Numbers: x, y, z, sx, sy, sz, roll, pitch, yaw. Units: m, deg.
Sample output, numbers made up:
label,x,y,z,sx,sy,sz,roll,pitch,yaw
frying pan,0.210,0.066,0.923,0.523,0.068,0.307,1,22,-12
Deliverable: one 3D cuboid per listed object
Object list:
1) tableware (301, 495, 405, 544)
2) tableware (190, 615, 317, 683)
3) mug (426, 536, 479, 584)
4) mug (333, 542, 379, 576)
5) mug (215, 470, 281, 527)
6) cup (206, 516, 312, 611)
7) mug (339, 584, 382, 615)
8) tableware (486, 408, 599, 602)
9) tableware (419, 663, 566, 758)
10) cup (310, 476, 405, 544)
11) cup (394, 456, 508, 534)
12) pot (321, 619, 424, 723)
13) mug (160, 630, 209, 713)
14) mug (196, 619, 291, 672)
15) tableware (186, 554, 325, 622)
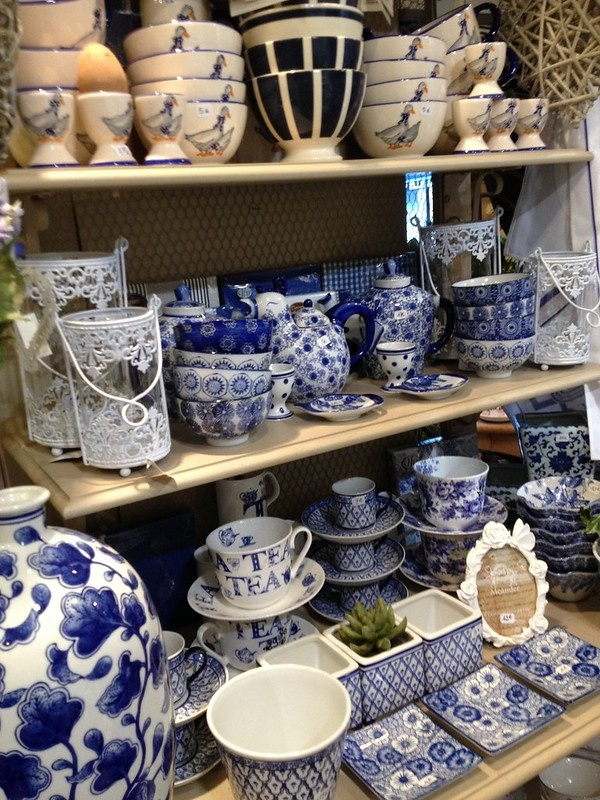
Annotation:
label,x,y,z,sx,sy,sz,roll,pitch,yaw
tableware,0.090,0.213,1.020,0.164,0.037,0.162,-5,7,-13
tableware,-0.072,0.349,0.904,0.165,0.084,0.162,-4,-8,-31
mug,0.255,0.270,1.062,0.088,0.068,0.086,-2,2,-6
mug,0.090,0.260,1.017,0.056,0.052,0.055,-1,5,-1
mug,-0.075,0.159,1.021,0.103,0.094,0.065,-10,17,-16
cup,-0.060,0.220,0.890,0.136,0.093,0.109,-4,11,-15
mug,0.097,0.324,1.021,0.057,0.053,0.056,-1,1,-1
tableware,0.465,0.183,1.206,0.270,0.151,0.311,-5,20,15
tableware,0.255,0.423,0.833,0.137,0.032,0.133,-14,16,-38
cup,0.088,0.180,1.031,0.172,0.068,0.157,-4,14,1
cup,0.263,0.168,1.073,0.129,0.097,0.113,-8,10,-35
pot,0.101,0.365,0.884,0.112,0.086,0.112,-5,10,1
mug,-0.139,0.361,0.796,0.046,0.068,0.071,-13,-20,-3
mug,-0.094,0.345,0.883,0.114,0.078,0.071,11,-13,-28
tableware,-0.043,0.303,0.944,0.208,0.041,0.204,17,-23,-3
